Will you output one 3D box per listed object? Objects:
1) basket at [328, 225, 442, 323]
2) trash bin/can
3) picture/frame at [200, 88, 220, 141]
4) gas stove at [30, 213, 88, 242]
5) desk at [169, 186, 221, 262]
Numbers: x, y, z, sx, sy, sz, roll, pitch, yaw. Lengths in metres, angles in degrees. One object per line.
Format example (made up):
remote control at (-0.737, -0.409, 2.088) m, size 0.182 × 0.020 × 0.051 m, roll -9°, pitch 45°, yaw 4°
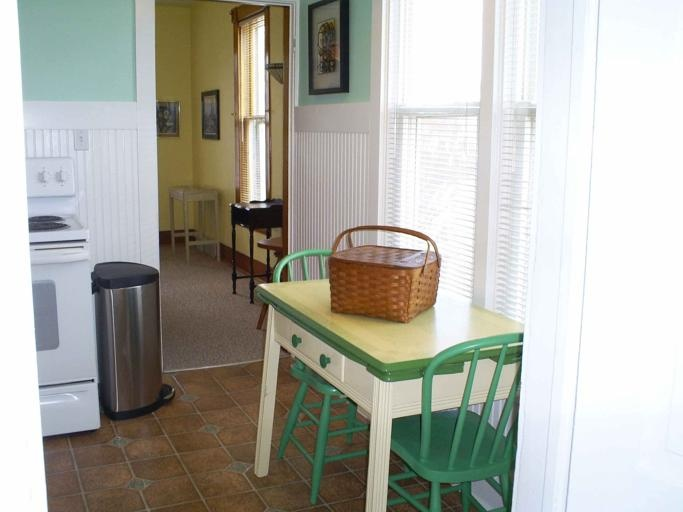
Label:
basket at (0.177, 0.058, 2.134) m, size 0.380 × 0.347 × 0.371 m, roll 6°, pitch 11°, yaw 31°
trash bin/can at (-1.191, 0.488, 3.078) m, size 0.354 × 0.804 × 0.193 m, roll -6°, pitch 13°, yaw -27°
picture/frame at (-1.727, -1.890, 7.200) m, size 0.046 × 0.707 × 0.642 m, roll -7°, pitch 17°, yaw -31°
gas stove at (-1.412, -0.119, 2.739) m, size 0.232 × 0.060 × 0.248 m, roll -7°, pitch 22°, yaw -30°
desk at (-1.952, -0.435, 7.366) m, size 0.390 × 0.849 × 0.950 m, roll 0°, pitch 8°, yaw -20°
